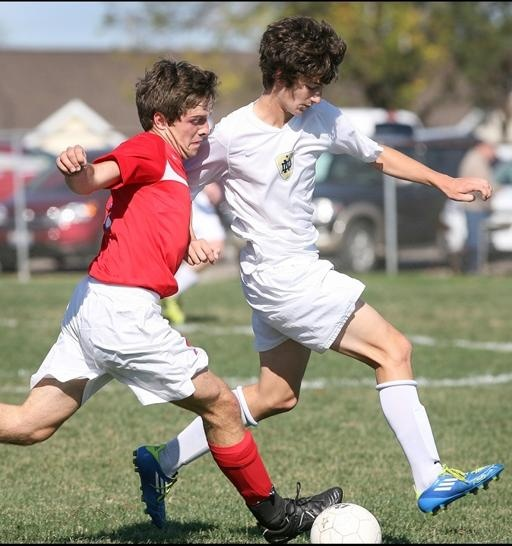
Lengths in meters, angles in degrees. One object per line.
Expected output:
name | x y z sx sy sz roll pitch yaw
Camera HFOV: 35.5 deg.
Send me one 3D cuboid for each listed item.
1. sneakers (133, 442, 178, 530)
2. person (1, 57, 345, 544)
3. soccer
sneakers | -0.398 0.857 3.198 0.198 0.289 0.142 -11 4 6
person | -0.339 0.293 2.850 1.035 1.572 0.522 -8 14 -30
soccer | 0.317 0.909 2.867 0.196 0.086 0.185 11 35 37
